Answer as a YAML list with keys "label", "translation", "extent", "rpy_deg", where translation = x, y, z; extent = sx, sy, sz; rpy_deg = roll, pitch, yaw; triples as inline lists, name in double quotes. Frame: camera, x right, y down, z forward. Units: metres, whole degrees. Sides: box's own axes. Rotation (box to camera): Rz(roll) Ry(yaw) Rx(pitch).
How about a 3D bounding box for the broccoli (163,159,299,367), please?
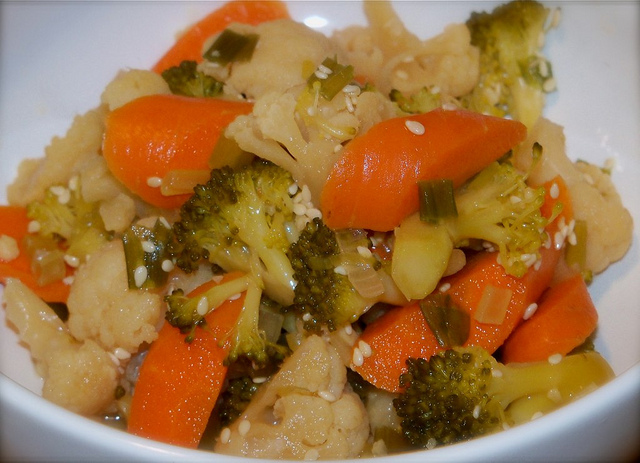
- label: "broccoli"
  translation: [-0.275, 0.118, 2.242]
  extent: [0.476, 0.668, 0.184]
  rpy_deg: [0, -6, 8]

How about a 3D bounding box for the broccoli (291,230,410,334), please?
- label: "broccoli"
  translation: [0.120, 0.157, 2.282]
  extent: [0.490, 0.160, 0.370]
  rpy_deg: [6, 40, -4]

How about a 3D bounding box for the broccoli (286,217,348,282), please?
- label: "broccoli"
  translation: [-0.016, 0.064, 2.215]
  extent: [0.175, 0.145, 0.144]
  rpy_deg: [-26, 43, -27]

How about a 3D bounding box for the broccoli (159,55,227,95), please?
- label: "broccoli"
  translation: [-0.470, -0.584, 2.535]
  extent: [0.188, 0.246, 0.056]
  rpy_deg: [11, 78, 9]

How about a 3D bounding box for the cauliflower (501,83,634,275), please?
- label: "cauliflower"
  translation: [0.955, -0.186, 2.501]
  extent: [0.179, 0.725, 0.468]
  rpy_deg: [-18, 21, 37]

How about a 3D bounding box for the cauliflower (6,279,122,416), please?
- label: "cauliflower"
  translation: [-0.932, 0.396, 2.461]
  extent: [0.265, 0.161, 0.579]
  rpy_deg: [-37, 75, -8]

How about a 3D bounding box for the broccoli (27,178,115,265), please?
- label: "broccoli"
  translation: [-0.915, -0.032, 2.492]
  extent: [0.297, 0.315, 0.085]
  rpy_deg: [10, 3, 19]

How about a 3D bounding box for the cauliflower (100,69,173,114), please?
- label: "cauliflower"
  translation: [-0.683, -0.526, 2.432]
  extent: [0.175, 0.051, 0.188]
  rpy_deg: [12, 64, -6]

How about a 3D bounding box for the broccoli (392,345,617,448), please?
- label: "broccoli"
  translation: [0.616, 0.560, 2.268]
  extent: [0.609, 0.228, 0.356]
  rpy_deg: [-10, 62, 3]

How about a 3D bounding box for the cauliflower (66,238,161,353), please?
- label: "cauliflower"
  translation: [-0.709, 0.239, 2.357]
  extent: [0.192, 0.438, 0.272]
  rpy_deg: [0, 6, 31]

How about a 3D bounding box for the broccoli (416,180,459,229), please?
- label: "broccoli"
  translation: [0.380, -0.087, 2.157]
  extent: [0.127, 0.136, 0.039]
  rpy_deg: [-9, -3, 2]
